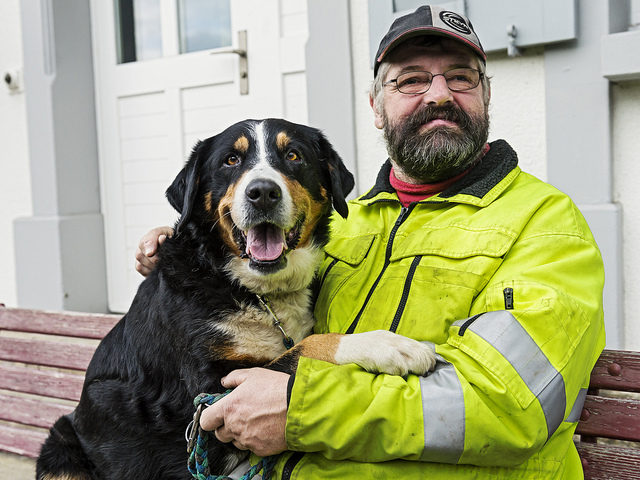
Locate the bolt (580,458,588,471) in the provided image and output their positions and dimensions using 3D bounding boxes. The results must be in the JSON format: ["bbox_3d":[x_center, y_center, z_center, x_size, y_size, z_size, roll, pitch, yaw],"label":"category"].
[{"bbox_3d":[1.400,1.189,4.023,0.053,0.055,0.056,-5,-6,27],"label":"bolt"}]

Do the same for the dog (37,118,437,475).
[{"bbox_3d":[-0.721,0.644,4.597,1.374,1.489,2.487,6,-32,-34],"label":"dog"}]

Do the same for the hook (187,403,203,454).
[{"bbox_3d":[-0.640,0.957,3.880,0.056,0.314,0.054,13,-2,-9],"label":"hook"}]

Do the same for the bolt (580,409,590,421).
[{"bbox_3d":[1.397,0.928,4.010,0.055,0.058,0.058,4,-4,-1],"label":"bolt"}]
